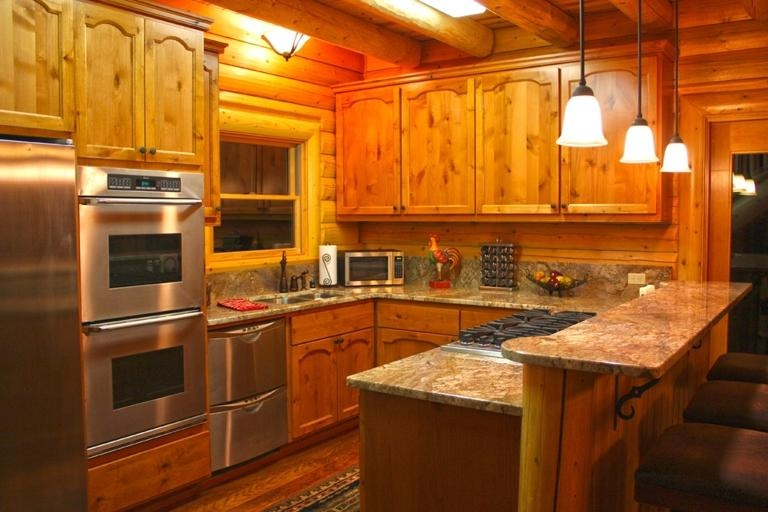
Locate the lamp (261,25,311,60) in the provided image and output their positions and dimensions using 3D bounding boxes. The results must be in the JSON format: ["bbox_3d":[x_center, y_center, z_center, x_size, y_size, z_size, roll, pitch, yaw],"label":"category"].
[{"bbox_3d":[-0.842,-1.800,4.833,0.337,0.136,0.305,1,-5,-9],"label":"lamp"}]

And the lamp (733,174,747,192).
[{"bbox_3d":[2.743,-0.567,4.449,0.128,0.114,0.126,3,5,32],"label":"lamp"}]

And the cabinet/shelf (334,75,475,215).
[{"bbox_3d":[0.243,-1.006,5.208,1.597,1.130,0.552,1,0,24],"label":"cabinet/shelf"}]

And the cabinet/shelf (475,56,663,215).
[{"bbox_3d":[1.440,-0.908,4.332,1.616,1.232,0.562,0,0,28],"label":"cabinet/shelf"}]

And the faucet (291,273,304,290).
[{"bbox_3d":[-0.773,0.227,5.220,0.118,0.156,0.246,3,10,1],"label":"faucet"}]

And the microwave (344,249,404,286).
[{"bbox_3d":[-0.085,0.120,5.360,0.591,0.316,0.348,-1,1,-31],"label":"microwave"}]
